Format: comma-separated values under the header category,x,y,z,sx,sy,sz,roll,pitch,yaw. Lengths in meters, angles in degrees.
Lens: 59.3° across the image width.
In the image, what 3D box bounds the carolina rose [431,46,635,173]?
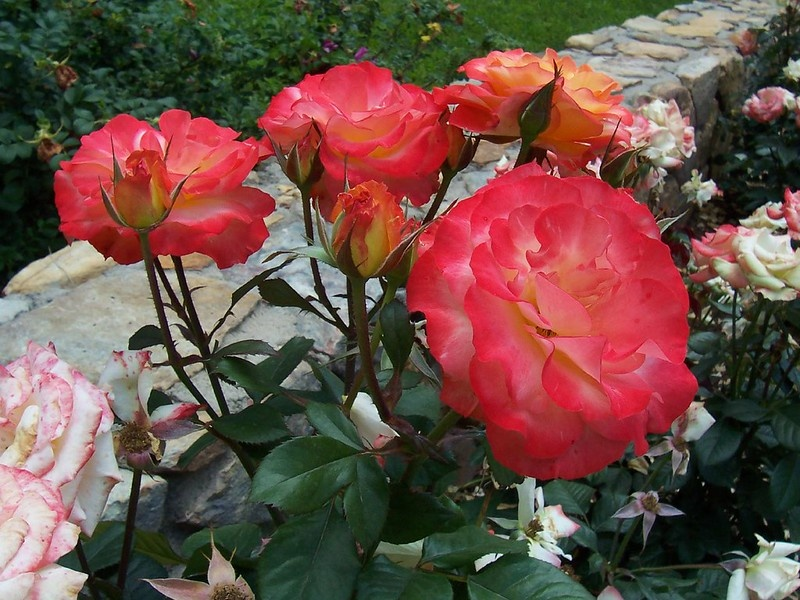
category,x,y,z,sx,sy,sz,roll,pitch,yaw
carolina rose,0.188,-0.244,1.027,0.214,0.103,0.202,-3,44,-29

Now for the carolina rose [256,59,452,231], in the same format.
category,x,y,z,sx,sy,sz,roll,pitch,yaw
carolina rose,-0.060,-0.182,0.985,0.232,0.137,0.221,-16,57,-17

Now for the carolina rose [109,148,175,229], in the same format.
category,x,y,z,sx,sy,sz,roll,pitch,yaw
carolina rose,-0.312,-0.130,0.846,0.071,0.088,0.047,-9,34,-17

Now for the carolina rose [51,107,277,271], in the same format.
category,x,y,z,sx,sy,sz,roll,pitch,yaw
carolina rose,-0.306,-0.152,0.921,0.296,0.296,0.149,5,73,-1

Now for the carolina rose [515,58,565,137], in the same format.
category,x,y,z,sx,sy,sz,roll,pitch,yaw
carolina rose,0.197,-0.267,0.966,0.038,0.105,0.065,26,39,32
